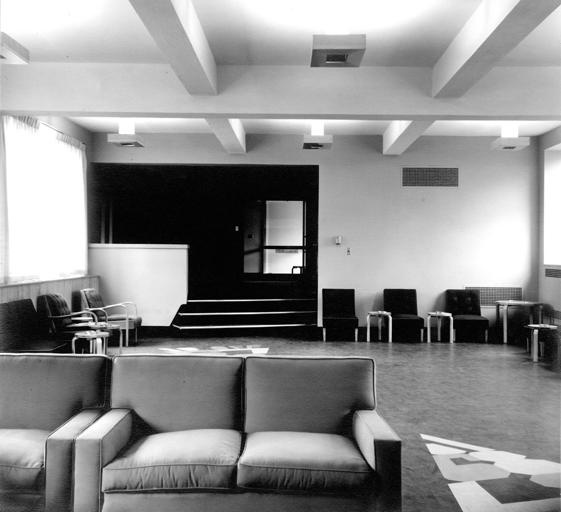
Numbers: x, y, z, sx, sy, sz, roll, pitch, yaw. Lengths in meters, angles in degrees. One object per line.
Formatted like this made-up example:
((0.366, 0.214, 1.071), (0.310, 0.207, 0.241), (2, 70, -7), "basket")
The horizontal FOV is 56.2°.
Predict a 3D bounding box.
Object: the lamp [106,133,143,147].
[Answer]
((-1.870, -1.406, 6.382), (0.359, 0.153, 0.413), (8, 8, -10), "lamp")

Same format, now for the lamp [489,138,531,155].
((2.734, -1.320, 6.219), (0.305, 0.086, 0.347), (-1, -2, 44), "lamp")

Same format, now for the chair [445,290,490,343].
((2.664, 0.875, 7.538), (0.568, 0.839, 0.677), (-2, -8, 19), "chair")

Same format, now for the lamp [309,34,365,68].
((0.422, -1.508, 3.852), (0.366, 0.219, 0.355), (10, 7, 3), "lamp")

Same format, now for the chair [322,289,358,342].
((0.838, 0.835, 7.453), (0.518, 0.728, 0.575), (0, -3, 10), "chair")

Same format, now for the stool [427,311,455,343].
((2.232, 1.018, 7.489), (0.425, 0.512, 0.372), (0, 1, -2), "stool")

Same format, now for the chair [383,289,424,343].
((1.752, 0.870, 7.456), (0.530, 0.793, 0.624), (0, -1, -5), "chair")

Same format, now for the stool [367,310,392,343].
((1.403, 0.990, 7.374), (0.361, 0.441, 0.324), (-1, -2, 20), "stool")
